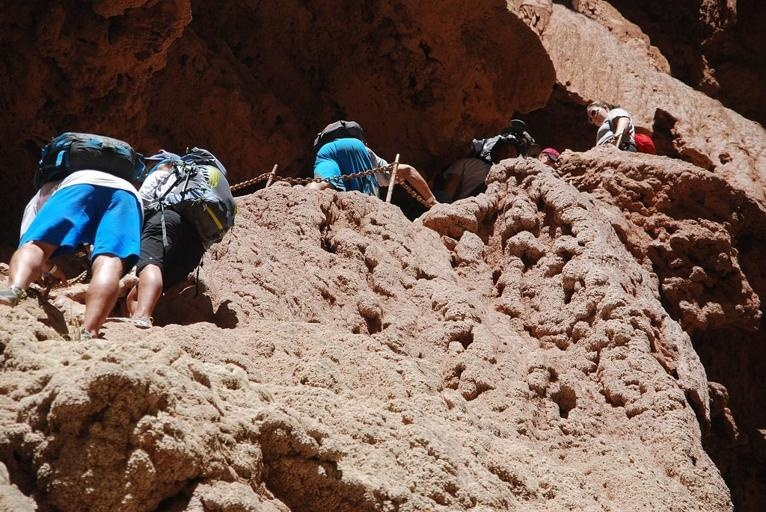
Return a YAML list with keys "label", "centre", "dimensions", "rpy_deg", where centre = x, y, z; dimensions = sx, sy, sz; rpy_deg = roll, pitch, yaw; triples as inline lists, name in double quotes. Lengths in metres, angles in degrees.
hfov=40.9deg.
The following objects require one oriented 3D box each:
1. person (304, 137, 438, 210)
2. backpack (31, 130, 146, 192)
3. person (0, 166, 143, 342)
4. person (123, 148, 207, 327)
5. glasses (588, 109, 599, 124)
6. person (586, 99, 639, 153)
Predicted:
- label: "person"
  centre: [-0.160, -0.927, 11.153]
  dimensions: [1.166, 0.382, 1.262]
  rpy_deg: [16, 23, 7]
- label: "backpack"
  centre: [-2.328, -0.771, 8.387]
  dimensions: [0.466, 0.364, 0.643]
  rpy_deg: [6, -7, 26]
- label: "person"
  centre: [-2.376, 0.003, 7.893]
  dimensions: [0.942, 0.744, 1.326]
  rpy_deg: [7, 38, -9]
- label: "person"
  centre: [-1.816, -0.136, 8.533]
  dimensions: [0.581, 0.501, 1.291]
  rpy_deg: [-11, 30, 18]
- label: "glasses"
  centre: [2.639, -1.759, 12.786]
  dimensions: [0.151, 0.124, 0.067]
  rpy_deg: [35, 19, -5]
- label: "person"
  centre: [2.929, -1.688, 12.941]
  dimensions: [0.350, 0.470, 1.003]
  rpy_deg: [-11, 45, -6]
